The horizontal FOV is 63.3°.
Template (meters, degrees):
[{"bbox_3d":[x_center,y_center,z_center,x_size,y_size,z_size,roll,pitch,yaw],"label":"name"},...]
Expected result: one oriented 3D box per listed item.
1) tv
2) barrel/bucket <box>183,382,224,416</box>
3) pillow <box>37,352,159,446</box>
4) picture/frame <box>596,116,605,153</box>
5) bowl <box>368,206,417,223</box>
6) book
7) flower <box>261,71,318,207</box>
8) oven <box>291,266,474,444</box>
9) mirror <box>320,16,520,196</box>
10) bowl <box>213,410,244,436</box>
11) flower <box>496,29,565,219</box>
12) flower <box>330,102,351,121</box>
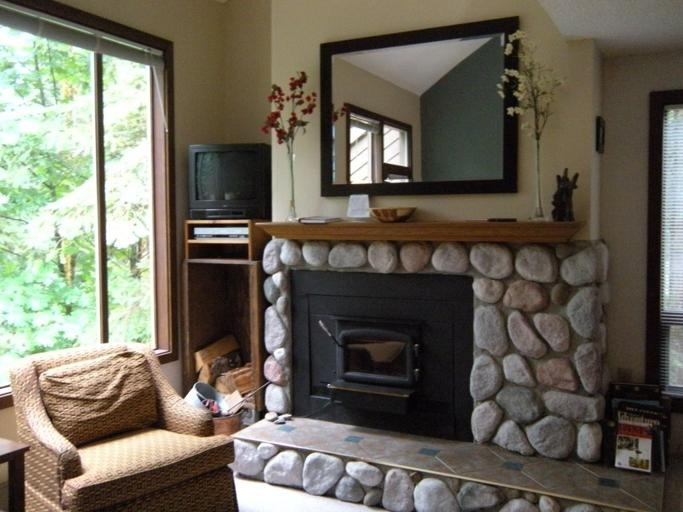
[{"bbox_3d":[-0.970,-0.635,4.533,0.628,0.596,0.357,-3,22,-21],"label":"tv"},{"bbox_3d":[-0.980,1.032,4.004,0.178,0.257,0.224,-35,-6,12],"label":"barrel/bucket"},{"bbox_3d":[-1.408,0.844,3.407,0.673,0.535,0.255,-14,25,-39],"label":"pillow"},{"bbox_3d":[1.679,-0.790,3.591,0.024,0.169,0.225,3,33,29],"label":"picture/frame"},{"bbox_3d":[0.343,-0.278,3.720,0.290,0.099,0.192,1,6,17],"label":"bowl"},{"bbox_3d":[1.795,1.028,3.369,0.345,0.428,0.395,3,7,30],"label":"book"},{"bbox_3d":[-0.367,-0.833,4.122,0.389,1.070,0.424,-1,6,-3],"label":"flower"},{"bbox_3d":[0.247,0.665,3.868,1.303,1.098,0.464,2,3,23],"label":"oven"},{"bbox_3d":[0.580,-1.008,3.712,1.293,1.035,0.051,-1,-1,24],"label":"mirror"},{"bbox_3d":[-0.813,1.216,4.025,0.220,0.140,0.209,0,0,0],"label":"bowl"},{"bbox_3d":[1.164,-0.821,3.457,0.384,1.162,0.266,2,7,24],"label":"flower"},{"bbox_3d":[-0.009,-1.023,3.965,0.121,0.122,0.116,-14,0,-35],"label":"flower"}]
